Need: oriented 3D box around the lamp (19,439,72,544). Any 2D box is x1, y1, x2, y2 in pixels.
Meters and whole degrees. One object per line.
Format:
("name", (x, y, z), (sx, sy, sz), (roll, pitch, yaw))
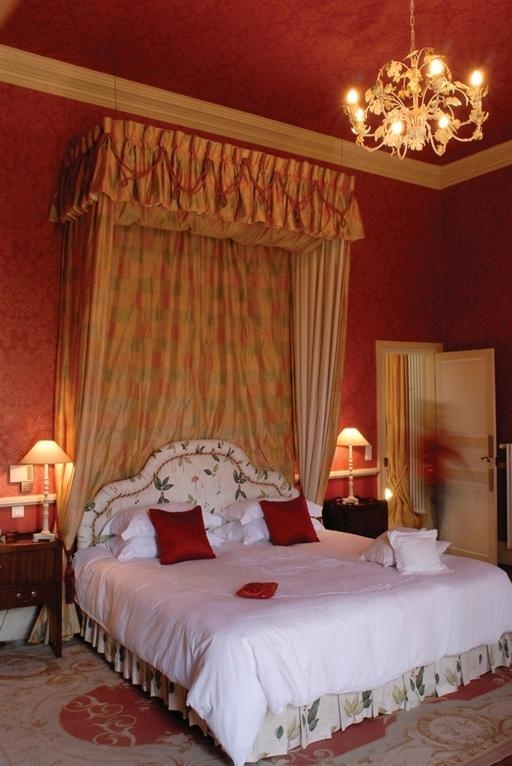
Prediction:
("lamp", (-1.396, 0.697, 3.900), (0.287, 0.633, 0.444), (1, -3, -24))
